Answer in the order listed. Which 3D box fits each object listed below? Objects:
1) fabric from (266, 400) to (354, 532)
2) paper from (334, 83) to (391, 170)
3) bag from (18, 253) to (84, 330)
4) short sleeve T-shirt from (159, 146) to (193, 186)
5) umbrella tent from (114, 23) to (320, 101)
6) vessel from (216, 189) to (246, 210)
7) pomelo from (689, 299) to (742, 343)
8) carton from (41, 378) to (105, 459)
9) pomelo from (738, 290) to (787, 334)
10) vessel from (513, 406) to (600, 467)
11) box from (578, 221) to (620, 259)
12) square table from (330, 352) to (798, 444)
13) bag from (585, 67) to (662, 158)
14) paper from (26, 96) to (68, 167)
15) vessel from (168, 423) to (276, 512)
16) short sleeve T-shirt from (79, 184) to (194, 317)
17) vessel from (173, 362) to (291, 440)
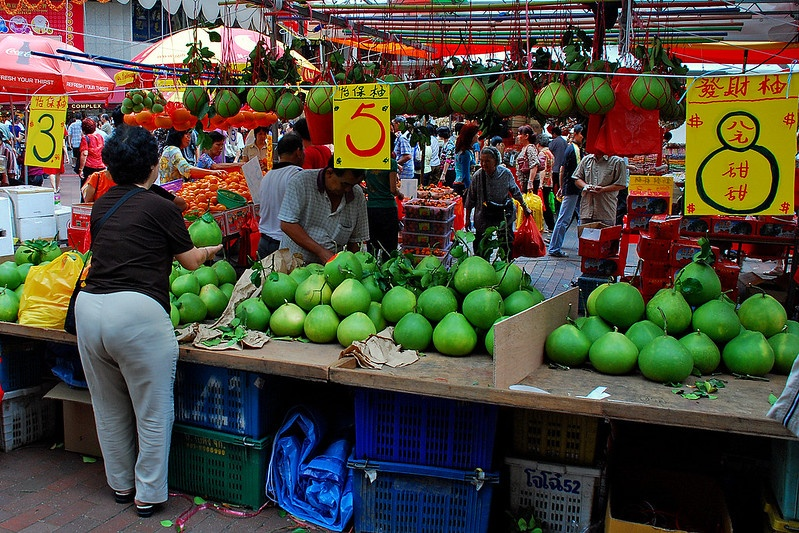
[{"bbox_3d":[-0.549,1.316,3.995,0.588,0.335,0.715,8,41,9],"label":"fabric"},{"bbox_3d":[-0.259,-0.969,4.210,0.433,0.559,0.083,7,14,23],"label":"paper"},{"bbox_3d":[-2.411,0.152,4.263,0.305,0.549,0.405,6,-5,16],"label":"bag"},{"bbox_3d":[-3.012,-1.294,8.149,0.600,0.599,0.354,15,13,39],"label":"short sleeve T-shirt"},{"bbox_3d":[-2.948,-3.573,10.460,3.599,1.089,3.617,-6,15,-19],"label":"umbrella tent"},{"bbox_3d":[-1.893,-0.753,6.835,0.254,0.107,0.241,13,21,13],"label":"vessel"},{"bbox_3d":[1.914,0.339,3.705,0.282,0.280,0.289,-1,0,23],"label":"pomelo"},{"bbox_3d":[-2.305,1.072,4.552,0.436,0.324,0.401,-29,-43,25],"label":"carton"},{"bbox_3d":[2.184,0.283,3.728,0.255,0.251,0.254,-6,17,18],"label":"pomelo"},{"bbox_3d":[0.943,1.007,3.640,0.368,0.234,0.376,5,1,2],"label":"vessel"},{"bbox_3d":[2.308,-0.309,7.029,0.466,0.318,0.314,-13,21,-41],"label":"box"},{"bbox_3d":[0.957,0.679,3.463,2.428,0.175,0.462,4,13,9],"label":"square table"},{"bbox_3d":[1.486,-1.036,4.033,0.514,0.572,0.274,5,37,13],"label":"bag"},{"bbox_3d":[-3.476,-1.339,5.993,0.390,0.734,0.004,5,-1,7],"label":"paper"},{"bbox_3d":[-1.203,1.261,4.233,0.780,0.511,0.481,9,12,19],"label":"vessel"},{"bbox_3d":[-1.616,-0.103,3.711,0.619,0.755,0.276,1,13,-2],"label":"short sleeve T-shirt"},{"bbox_3d":[-1.118,0.838,4.034,0.627,0.388,0.424,1,-2,27],"label":"vessel"}]
